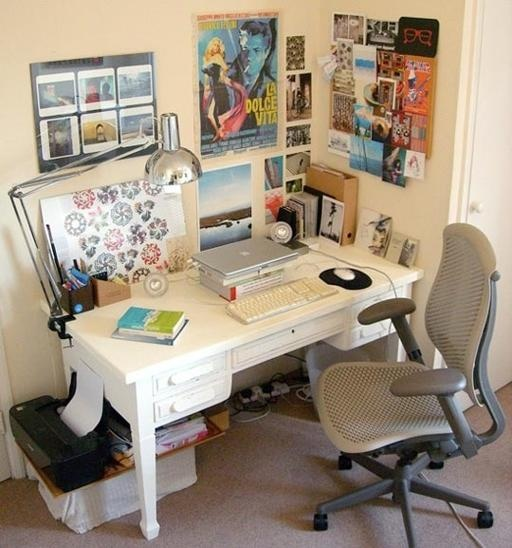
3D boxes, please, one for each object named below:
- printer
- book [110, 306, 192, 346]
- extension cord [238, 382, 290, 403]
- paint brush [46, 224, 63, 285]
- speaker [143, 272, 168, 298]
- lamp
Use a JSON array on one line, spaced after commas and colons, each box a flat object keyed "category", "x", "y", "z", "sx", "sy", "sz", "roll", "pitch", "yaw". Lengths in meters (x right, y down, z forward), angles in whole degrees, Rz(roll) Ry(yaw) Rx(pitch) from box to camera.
[{"category": "printer", "x": -0.744, "y": 0.610, "z": 1.966, "sx": 0.281, "sy": 0.234, "sz": 0.368, "roll": -10, "pitch": 29, "yaw": -44}, {"category": "book", "x": -0.381, "y": 0.168, "z": 1.813, "sx": 0.243, "sy": 0.063, "sz": 0.220, "roll": 2, "pitch": 23, "yaw": 10}, {"category": "extension cord", "x": 0.038, "y": 0.620, "z": 2.689, "sx": 0.192, "sy": 0.047, "sz": 0.113, "roll": -13, "pitch": 22, "yaw": -33}, {"category": "paint brush", "x": -0.780, "y": -0.074, "z": 1.965, "sx": 0.029, "sy": 0.251, "sz": 0.029, "roll": 13, "pitch": 31, "yaw": 29}, {"category": "speaker", "x": -0.405, "y": 0.039, "z": 2.091, "sx": 0.095, "sy": 0.097, "sz": 0.067, "roll": -51, "pitch": 14, "yaw": -2}, {"category": "lamp", "x": -0.549, "y": -0.153, "z": 1.901, "sx": 0.628, "sy": 0.860, "sz": 0.512, "roll": -12, "pitch": 25, "yaw": -21}]
